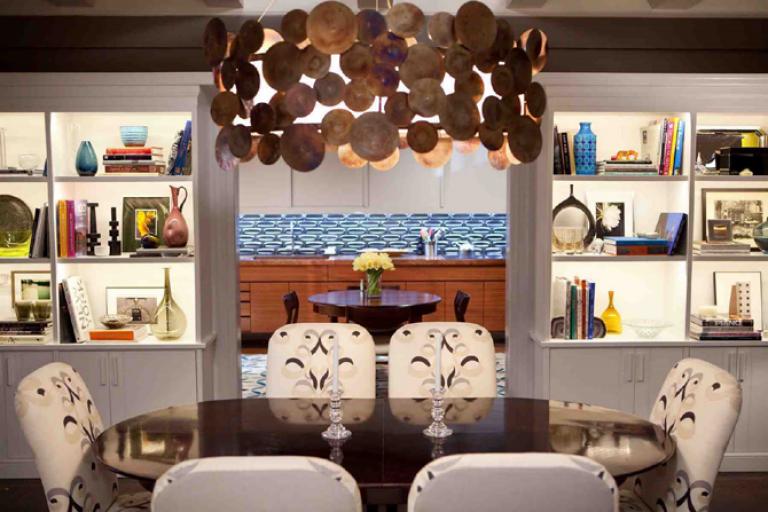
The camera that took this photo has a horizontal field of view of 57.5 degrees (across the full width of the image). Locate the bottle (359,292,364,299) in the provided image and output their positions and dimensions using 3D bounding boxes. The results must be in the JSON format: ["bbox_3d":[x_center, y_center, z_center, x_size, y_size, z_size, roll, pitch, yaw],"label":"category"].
[{"bbox_3d":[-0.189,0.343,6.169,0.038,0.079,0.041,0,16,0],"label":"bottle"}]

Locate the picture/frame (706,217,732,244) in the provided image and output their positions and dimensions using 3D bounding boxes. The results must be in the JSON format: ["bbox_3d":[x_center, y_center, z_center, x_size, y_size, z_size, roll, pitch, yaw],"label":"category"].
[{"bbox_3d":[2.311,-0.181,4.830,0.143,0.157,0.151,1,3,9],"label":"picture/frame"}]

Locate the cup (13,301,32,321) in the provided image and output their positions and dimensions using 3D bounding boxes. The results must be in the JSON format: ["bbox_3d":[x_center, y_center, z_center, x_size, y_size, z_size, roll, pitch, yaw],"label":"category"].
[{"bbox_3d":[-2.453,0.380,4.760,0.110,0.150,0.114,0,-3,0],"label":"cup"}]

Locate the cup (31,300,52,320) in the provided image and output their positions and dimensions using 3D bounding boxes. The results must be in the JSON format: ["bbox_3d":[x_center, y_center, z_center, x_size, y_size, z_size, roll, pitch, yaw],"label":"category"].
[{"bbox_3d":[-2.327,0.361,4.785,0.115,0.147,0.130,0,1,-8],"label":"cup"}]

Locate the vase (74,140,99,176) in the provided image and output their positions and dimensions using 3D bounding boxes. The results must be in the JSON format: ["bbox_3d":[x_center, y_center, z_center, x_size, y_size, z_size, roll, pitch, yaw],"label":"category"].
[{"bbox_3d":[-2.035,-0.677,4.793,0.192,0.231,0.199,8,8,35],"label":"vase"}]

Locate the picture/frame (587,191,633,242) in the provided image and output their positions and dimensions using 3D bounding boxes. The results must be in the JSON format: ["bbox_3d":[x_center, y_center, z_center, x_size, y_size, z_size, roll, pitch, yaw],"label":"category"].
[{"bbox_3d":[1.596,-0.291,4.983,0.323,0.426,0.031,0,0,0],"label":"picture/frame"}]

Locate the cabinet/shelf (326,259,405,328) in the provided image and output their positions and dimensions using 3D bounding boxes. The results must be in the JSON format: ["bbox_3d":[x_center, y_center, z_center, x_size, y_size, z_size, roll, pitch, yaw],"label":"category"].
[{"bbox_3d":[-0.192,0.261,6.117,0.553,0.701,0.592,1,2,0],"label":"cabinet/shelf"}]

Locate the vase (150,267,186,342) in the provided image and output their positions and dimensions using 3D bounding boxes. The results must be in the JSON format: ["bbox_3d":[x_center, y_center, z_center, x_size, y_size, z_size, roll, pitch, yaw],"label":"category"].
[{"bbox_3d":[-1.476,0.310,4.790,0.234,0.512,0.258,1,16,-9],"label":"vase"}]

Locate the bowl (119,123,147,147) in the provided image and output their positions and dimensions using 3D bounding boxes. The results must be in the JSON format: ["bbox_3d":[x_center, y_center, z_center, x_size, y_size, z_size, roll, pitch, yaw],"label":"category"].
[{"bbox_3d":[-1.722,-0.830,4.809,0.148,0.119,0.144,0,2,0],"label":"bowl"}]

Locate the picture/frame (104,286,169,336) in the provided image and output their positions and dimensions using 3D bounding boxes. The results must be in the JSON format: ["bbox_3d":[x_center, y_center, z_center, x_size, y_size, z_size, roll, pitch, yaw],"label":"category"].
[{"bbox_3d":[-1.740,0.394,4.884,0.318,0.305,0.033,0,1,-1],"label":"picture/frame"}]

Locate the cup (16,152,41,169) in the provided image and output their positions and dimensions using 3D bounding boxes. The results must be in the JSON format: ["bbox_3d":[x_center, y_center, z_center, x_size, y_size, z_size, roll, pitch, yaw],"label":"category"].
[{"bbox_3d":[-2.443,-0.646,4.820,0.137,0.110,0.146,-1,3,0],"label":"cup"}]

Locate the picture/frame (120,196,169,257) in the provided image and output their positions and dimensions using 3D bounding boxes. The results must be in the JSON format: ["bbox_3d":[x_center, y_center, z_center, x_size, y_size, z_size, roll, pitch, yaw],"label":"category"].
[{"bbox_3d":[-1.690,-0.201,4.925,0.371,0.507,0.018,2,-4,-1],"label":"picture/frame"}]

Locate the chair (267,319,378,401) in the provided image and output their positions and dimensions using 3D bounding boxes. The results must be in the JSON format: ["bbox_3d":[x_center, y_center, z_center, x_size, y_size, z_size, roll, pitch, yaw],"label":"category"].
[{"bbox_3d":[-0.366,0.606,4.040,0.618,0.409,0.300,0,3,-8],"label":"chair"}]

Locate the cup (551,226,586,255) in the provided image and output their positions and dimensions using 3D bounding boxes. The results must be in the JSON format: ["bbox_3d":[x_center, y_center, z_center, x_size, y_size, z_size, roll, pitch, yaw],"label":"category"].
[{"bbox_3d":[1.271,-0.109,4.828,0.197,0.162,0.169,2,-3,-4],"label":"cup"}]

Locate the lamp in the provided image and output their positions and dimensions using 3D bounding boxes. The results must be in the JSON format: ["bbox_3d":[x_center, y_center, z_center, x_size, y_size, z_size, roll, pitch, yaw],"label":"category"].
[{"bbox_3d":[-0.030,-0.746,3.040,0.911,0.426,0.990,2,-3,-14],"label":"lamp"}]

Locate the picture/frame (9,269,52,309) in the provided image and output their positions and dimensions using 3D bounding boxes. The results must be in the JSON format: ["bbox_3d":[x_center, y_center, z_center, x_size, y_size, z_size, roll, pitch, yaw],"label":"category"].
[{"bbox_3d":[-2.454,0.230,4.872,0.251,0.239,0.020,1,-2,-3],"label":"picture/frame"}]

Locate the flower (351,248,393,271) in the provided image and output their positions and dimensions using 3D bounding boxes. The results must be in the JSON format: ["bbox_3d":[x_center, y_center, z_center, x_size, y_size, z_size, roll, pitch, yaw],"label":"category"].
[{"bbox_3d":[-0.070,0.041,6.096,0.225,0.142,0.236,0,1,24],"label":"flower"}]
